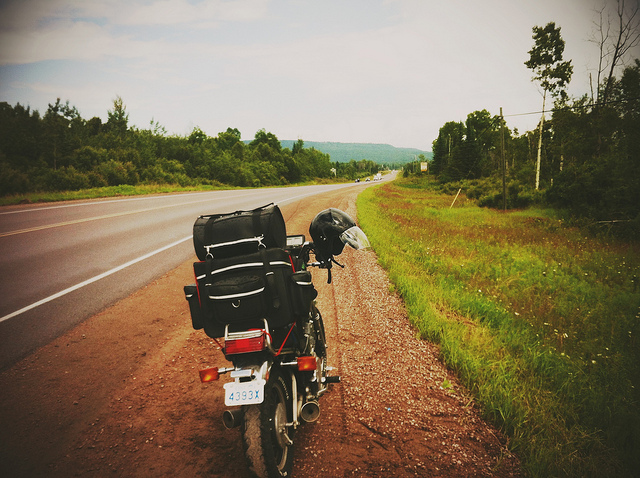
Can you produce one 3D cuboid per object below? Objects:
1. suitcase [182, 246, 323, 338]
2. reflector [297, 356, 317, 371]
[{"bbox_3d":[-1.412,0.811,9.585,2.198,1.509,1.975,-10,11,4],"label":"suitcase"},{"bbox_3d":[-0.254,2.261,8.916,0.340,0.296,0.211,-3,-9,1],"label":"reflector"}]
